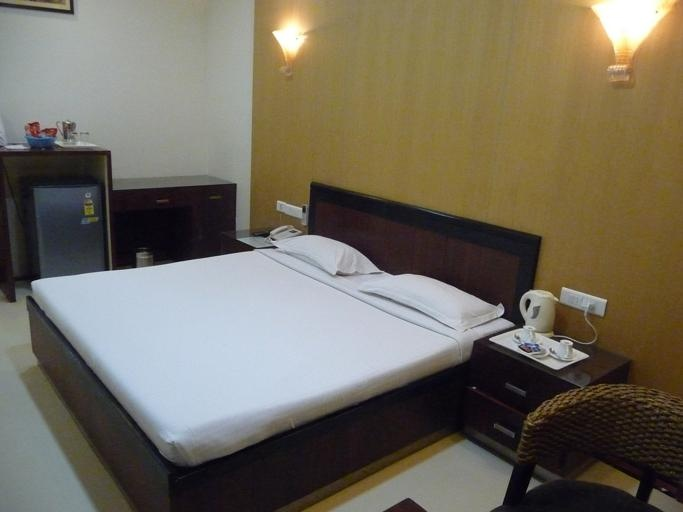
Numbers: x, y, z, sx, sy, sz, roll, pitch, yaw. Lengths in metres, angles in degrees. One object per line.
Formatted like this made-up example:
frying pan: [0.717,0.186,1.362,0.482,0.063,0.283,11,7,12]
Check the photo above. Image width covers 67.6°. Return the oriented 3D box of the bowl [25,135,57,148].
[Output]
bowl: [-2.390,-0.897,4.039,0.188,0.104,0.126,-10,19,-33]

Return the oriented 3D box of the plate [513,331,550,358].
plate: [0.976,0.466,2.670,0.101,0.048,0.122,-10,26,-21]

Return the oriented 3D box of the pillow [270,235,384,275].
pillow: [-0.152,-0.044,3.786,0.656,0.282,0.811,-5,12,-37]

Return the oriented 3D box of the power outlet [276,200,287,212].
power outlet: [-0.540,-0.433,4.510,0.097,0.071,0.097,-9,31,-42]

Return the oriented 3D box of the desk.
desk: [-1.638,-0.372,4.902,0.671,0.885,1.126,16,19,42]

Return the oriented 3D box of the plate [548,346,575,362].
plate: [1.124,0.504,2.618,0.076,0.020,0.078,16,20,32]

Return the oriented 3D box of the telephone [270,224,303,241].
telephone: [-0.486,-0.188,4.245,0.197,0.074,0.153,-14,26,-34]

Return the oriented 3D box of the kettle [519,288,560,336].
kettle: [1.112,0.326,2.899,0.168,0.233,0.213,-2,13,-45]

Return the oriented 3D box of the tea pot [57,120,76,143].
tea pot: [-2.348,-1.048,4.328,0.165,0.208,0.115,11,23,7]
